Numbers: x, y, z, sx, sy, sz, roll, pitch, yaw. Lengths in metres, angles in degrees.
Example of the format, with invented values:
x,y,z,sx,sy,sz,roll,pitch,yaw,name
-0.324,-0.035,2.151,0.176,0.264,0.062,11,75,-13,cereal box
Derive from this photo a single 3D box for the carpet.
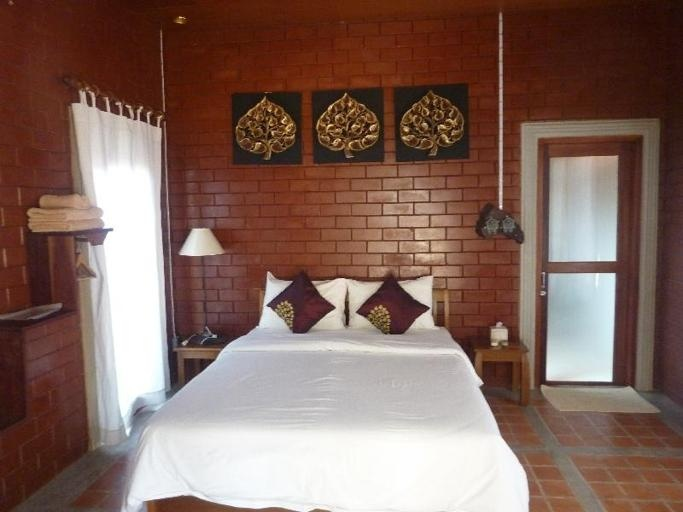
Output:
x,y,z,sx,sy,sz,roll,pitch,yaw,name
2.530,1.423,5.709,0.997,0.106,0.586,0,4,1,carpet

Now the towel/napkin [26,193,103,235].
x,y,z,sx,sy,sz,roll,pitch,yaw,name
-2.246,-0.328,4.685,0.420,0.209,0.381,1,4,30,towel/napkin

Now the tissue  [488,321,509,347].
x,y,z,sx,sy,sz,roll,pitch,yaw,name
1.589,0.762,5.734,0.221,0.217,0.369,1,1,16,tissue 
